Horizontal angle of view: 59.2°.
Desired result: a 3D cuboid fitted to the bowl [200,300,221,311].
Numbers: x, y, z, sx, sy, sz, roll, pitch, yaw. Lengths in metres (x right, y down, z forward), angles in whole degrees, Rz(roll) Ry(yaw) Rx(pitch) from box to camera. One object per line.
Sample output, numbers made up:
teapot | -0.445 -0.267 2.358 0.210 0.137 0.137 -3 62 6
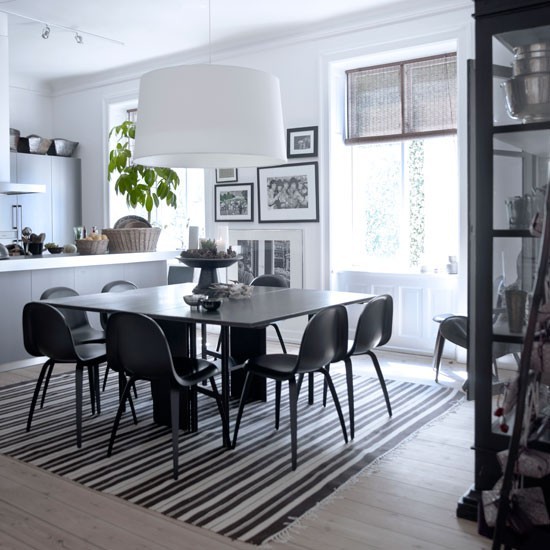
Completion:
bowl | -0.345 0.151 2.639 0.070 0.041 0.074 0 0 0

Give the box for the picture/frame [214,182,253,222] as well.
picture/frame | -0.469 -0.888 5.794 0.448 0.427 0.021 0 -1 36

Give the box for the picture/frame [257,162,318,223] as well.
picture/frame | 0.171 -0.909 5.292 0.614 0.586 0.026 3 6 40

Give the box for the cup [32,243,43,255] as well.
cup | -2.290 -0.255 4.653 0.103 0.106 0.088 -1 0 25

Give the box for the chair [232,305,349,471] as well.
chair | 0.211 0.535 2.910 0.685 1.209 0.657 3 2 36
